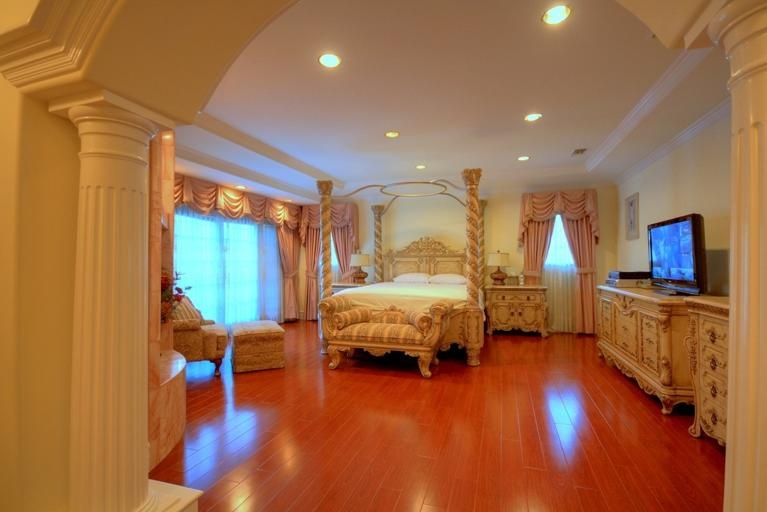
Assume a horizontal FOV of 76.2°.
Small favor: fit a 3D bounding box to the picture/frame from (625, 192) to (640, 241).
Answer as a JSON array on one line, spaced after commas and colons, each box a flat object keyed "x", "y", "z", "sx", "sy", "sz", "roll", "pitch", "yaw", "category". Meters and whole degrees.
[{"x": 3.664, "y": -0.603, "z": 7.156, "sx": 0.465, "sy": 0.580, "sz": 0.017, "roll": -13, "pitch": 12, "yaw": -39, "category": "picture/frame"}]

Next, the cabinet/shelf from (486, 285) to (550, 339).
[{"x": 2.259, "y": 0.869, "z": 8.279, "sx": 0.995, "sy": 0.869, "sz": 0.641, "roll": 0, "pitch": 12, "yaw": 18, "category": "cabinet/shelf"}]

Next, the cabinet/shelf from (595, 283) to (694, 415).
[{"x": 2.842, "y": 0.890, "z": 5.272, "sx": 0.288, "sy": 1.153, "sz": 1.767, "roll": 0, "pitch": 8, "yaw": 5, "category": "cabinet/shelf"}]

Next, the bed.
[{"x": 0.457, "y": 0.263, "z": 7.617, "sx": 2.281, "sy": 2.875, "sz": 3.242, "roll": -1, "pitch": -2, "yaw": 17, "category": "bed"}]

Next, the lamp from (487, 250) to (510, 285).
[{"x": 1.917, "y": 0.216, "z": 8.395, "sx": 0.341, "sy": 0.568, "sz": 0.362, "roll": 1, "pitch": -2, "yaw": -23, "category": "lamp"}]

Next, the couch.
[{"x": 0.019, "y": 0.977, "z": 6.267, "sx": 1.672, "sy": 0.848, "sz": 0.786, "roll": 2, "pitch": 8, "yaw": 15, "category": "couch"}]

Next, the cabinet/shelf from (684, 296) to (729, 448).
[{"x": 2.786, "y": 0.984, "z": 4.160, "sx": 0.241, "sy": 1.225, "sz": 0.678, "roll": 1, "pitch": 8, "yaw": 13, "category": "cabinet/shelf"}]

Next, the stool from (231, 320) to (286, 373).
[{"x": -1.611, "y": 1.170, "z": 6.232, "sx": 0.640, "sy": 0.508, "sz": 0.441, "roll": -3, "pitch": 8, "yaw": -21, "category": "stool"}]

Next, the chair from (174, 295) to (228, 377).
[{"x": -2.347, "y": 0.947, "z": 6.130, "sx": 0.839, "sy": 1.144, "sz": 0.826, "roll": 1, "pitch": -2, "yaw": -12, "category": "chair"}]
